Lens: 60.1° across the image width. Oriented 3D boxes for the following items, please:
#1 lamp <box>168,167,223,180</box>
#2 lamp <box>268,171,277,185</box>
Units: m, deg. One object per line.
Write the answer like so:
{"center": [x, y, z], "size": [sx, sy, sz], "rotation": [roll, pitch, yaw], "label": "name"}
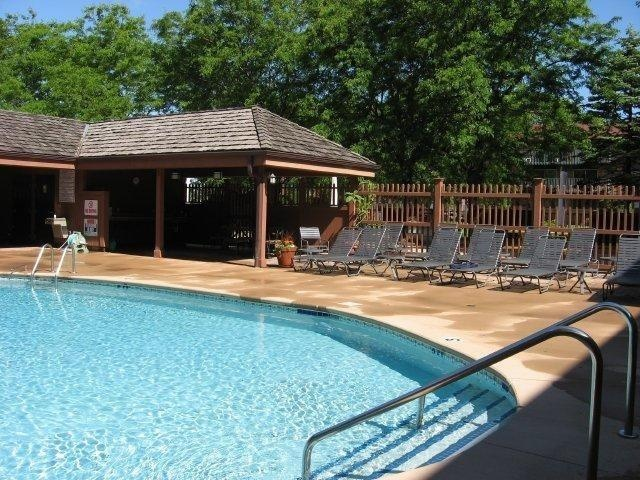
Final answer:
{"center": [-4.809, -2.632, 21.483], "size": [2.871, 0.486, 0.373], "rotation": [-3, -6, 35], "label": "lamp"}
{"center": [-1.609, -2.130, 19.248], "size": [0.332, 0.428, 0.332], "rotation": [-1, -1, 41], "label": "lamp"}
